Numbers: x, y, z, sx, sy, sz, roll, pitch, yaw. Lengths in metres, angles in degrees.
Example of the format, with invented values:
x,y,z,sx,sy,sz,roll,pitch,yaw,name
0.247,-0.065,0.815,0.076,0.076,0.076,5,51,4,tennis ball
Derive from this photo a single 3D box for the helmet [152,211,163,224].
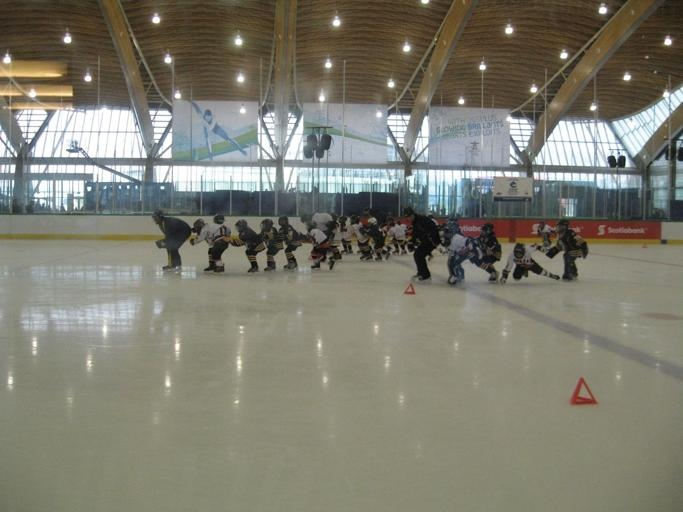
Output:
x,y,z,sx,sy,sz,roll,pitch,yaw,name
-3.401,-0.699,12.964,0.221,0.241,0.177,3,5,15,helmet

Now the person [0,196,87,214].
x,y,z,sx,sy,sz,roll,pitch,yaw,name
-11.001,-1.799,25.755,3.054,0.618,0.238,2,9,6,person

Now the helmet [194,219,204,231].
x,y,z,sx,sy,sz,roll,pitch,yaw,name
-2.619,-0.530,12.984,0.207,0.270,0.587,-1,10,-12,helmet

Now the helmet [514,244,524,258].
x,y,z,sx,sy,sz,roll,pitch,yaw,name
2.839,-0.055,11.324,0.189,0.298,0.284,3,9,14,helmet

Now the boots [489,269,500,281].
x,y,z,sx,sy,sz,roll,pitch,yaw,name
2.536,0.340,11.854,0.131,0.222,0.217,2,9,9,boots

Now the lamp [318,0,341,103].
x,y,z,sx,sy,sz,roll,pitch,yaw,name
-0.470,-7.766,26.588,0.806,0.937,3.974,14,-31,4,lamp

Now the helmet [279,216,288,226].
x,y,z,sx,sy,sz,roll,pitch,yaw,name
-1.104,-0.650,13.312,0.143,0.213,0.204,2,-5,-4,helmet

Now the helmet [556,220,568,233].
x,y,z,sx,sy,sz,roll,pitch,yaw,name
3.813,-0.475,12.247,0.212,0.259,0.281,4,10,17,helmet

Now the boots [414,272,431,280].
x,y,z,sx,sy,sz,roll,pitch,yaw,name
1.321,0.352,11.803,0.319,0.146,0.107,-3,10,-23,boots

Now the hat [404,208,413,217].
x,y,z,sx,sy,sz,roll,pitch,yaw,name
1.083,-0.719,11.592,0.118,0.154,0.161,3,26,10,hat

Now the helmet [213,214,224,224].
x,y,z,sx,sy,sz,roll,pitch,yaw,name
-2.251,-0.665,13.053,0.153,0.171,0.200,17,21,39,helmet

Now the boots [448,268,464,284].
x,y,z,sx,sy,sz,roll,pitch,yaw,name
1.885,0.362,11.710,0.182,0.267,0.274,-2,0,-7,boots

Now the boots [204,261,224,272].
x,y,z,sx,sy,sz,roll,pitch,yaw,name
-2.369,0.201,13.096,0.391,0.217,0.241,2,9,7,boots
